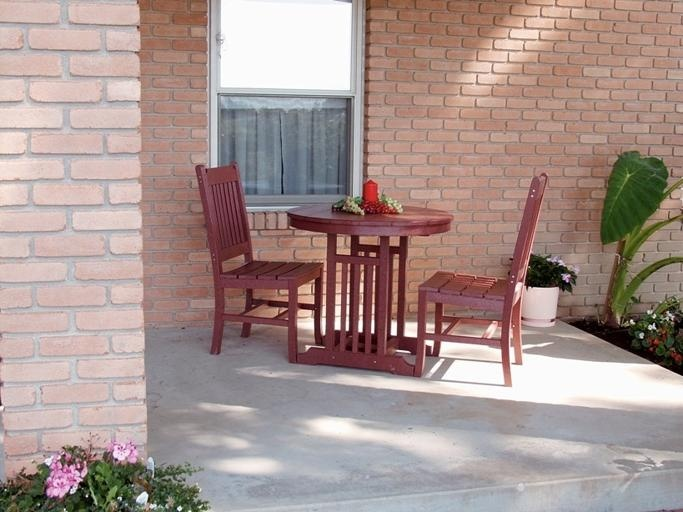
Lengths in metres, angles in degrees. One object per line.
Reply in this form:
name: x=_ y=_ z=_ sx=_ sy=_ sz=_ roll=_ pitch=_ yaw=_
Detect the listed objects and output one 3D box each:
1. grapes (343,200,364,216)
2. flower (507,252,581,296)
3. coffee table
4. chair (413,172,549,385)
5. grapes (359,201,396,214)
grapes: x=0.055 y=-0.303 z=3.925 sx=0.122 sy=0.055 sz=0.132 roll=12 pitch=4 yaw=-26
flower: x=1.597 y=0.158 z=4.908 sx=0.471 sy=0.168 sz=0.374 roll=-10 pitch=-26 yaw=20
coffee table: x=0.183 y=0.237 z=4.207 sx=1.545 sy=0.789 sz=1.171 roll=-5 pitch=-1 yaw=14
chair: x=0.887 y=0.074 z=4.026 sx=0.741 sy=1.265 sz=1.078 roll=7 pitch=16 yaw=12
grapes: x=0.235 y=-0.308 z=3.963 sx=0.207 sy=0.044 sz=0.082 roll=6 pitch=-35 yaw=-6
